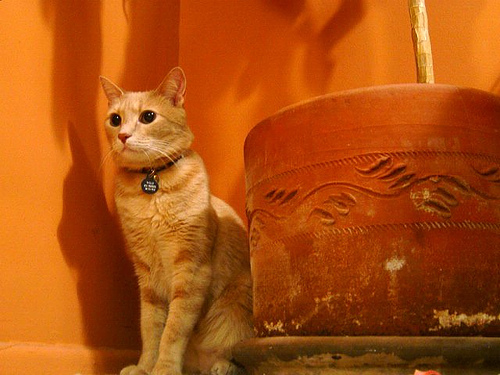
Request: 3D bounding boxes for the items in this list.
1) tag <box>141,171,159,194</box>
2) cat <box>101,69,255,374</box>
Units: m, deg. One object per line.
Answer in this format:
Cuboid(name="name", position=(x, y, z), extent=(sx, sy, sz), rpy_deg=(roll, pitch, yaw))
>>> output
Cuboid(name="tag", position=(-0.319, -0.002, 2.280), extent=(0.055, 0.053, 0.035), rpy_deg=(-5, 8, -10))
Cuboid(name="cat", position=(-0.210, 0.113, 2.247), extent=(0.443, 0.950, 0.465), rpy_deg=(-5, 8, -9))
